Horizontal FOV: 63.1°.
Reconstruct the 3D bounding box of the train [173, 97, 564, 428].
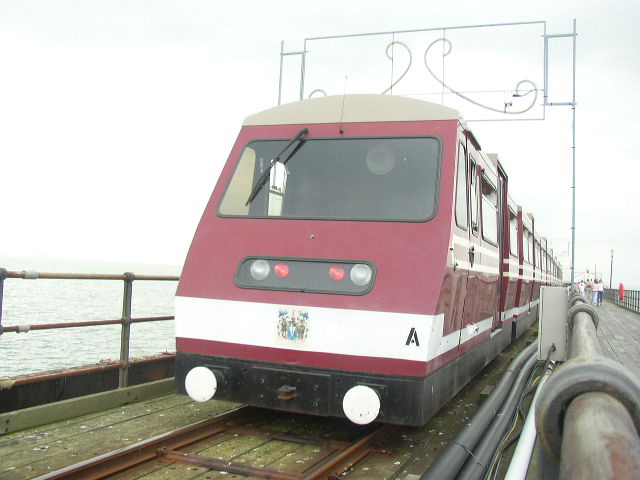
[{"bbox_3d":[0.685,0.189,5.808,4.229,3.665,2.079,1,-7,-35],"label":"train"}]
